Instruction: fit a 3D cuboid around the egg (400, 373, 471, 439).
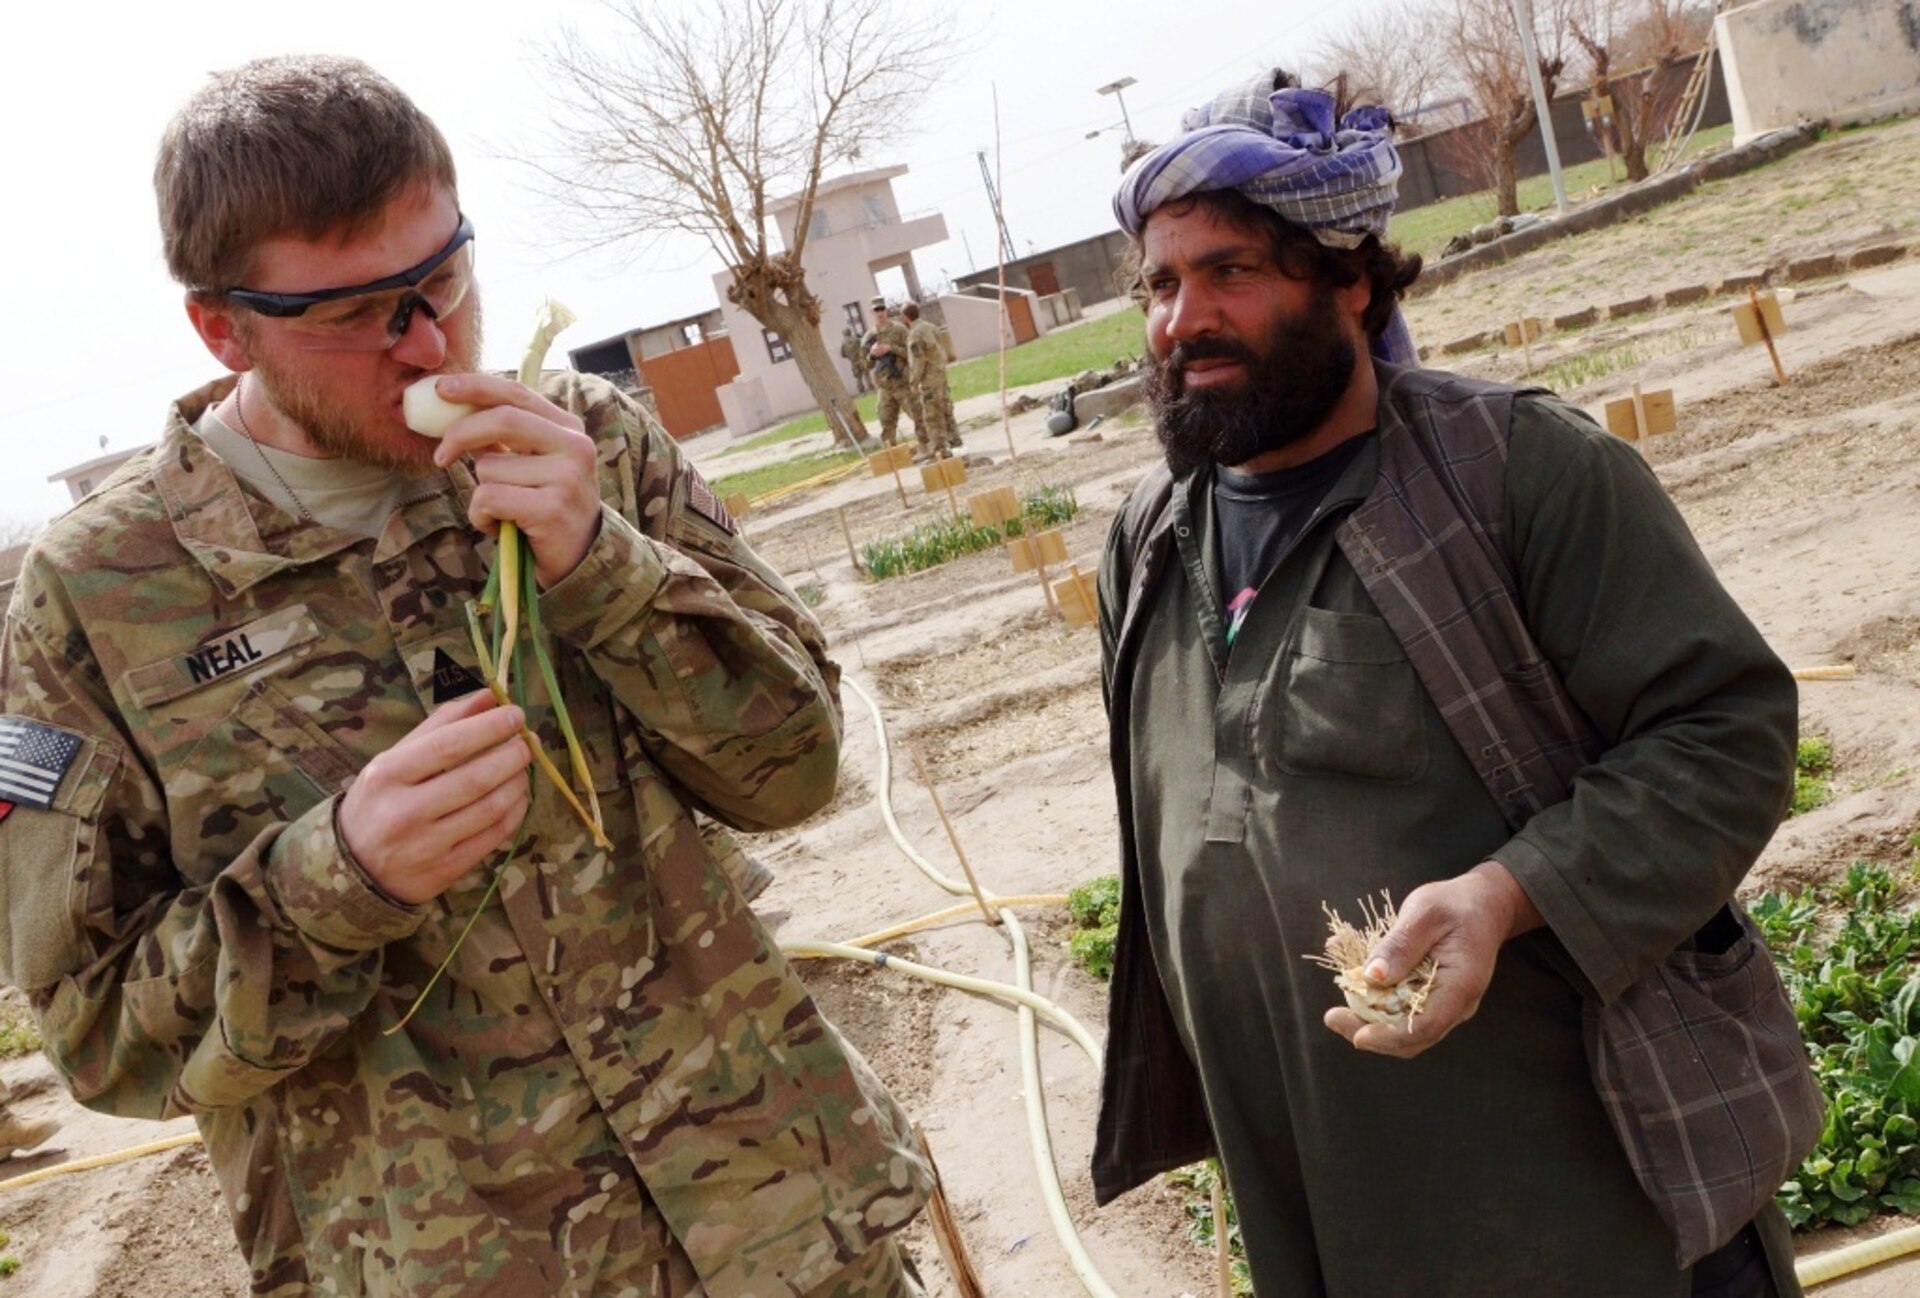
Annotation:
[{"bbox_3d":[-0.900,-0.413,2.477,0.118,0.095,0.066,-5,9,9],"label":"egg"}]
